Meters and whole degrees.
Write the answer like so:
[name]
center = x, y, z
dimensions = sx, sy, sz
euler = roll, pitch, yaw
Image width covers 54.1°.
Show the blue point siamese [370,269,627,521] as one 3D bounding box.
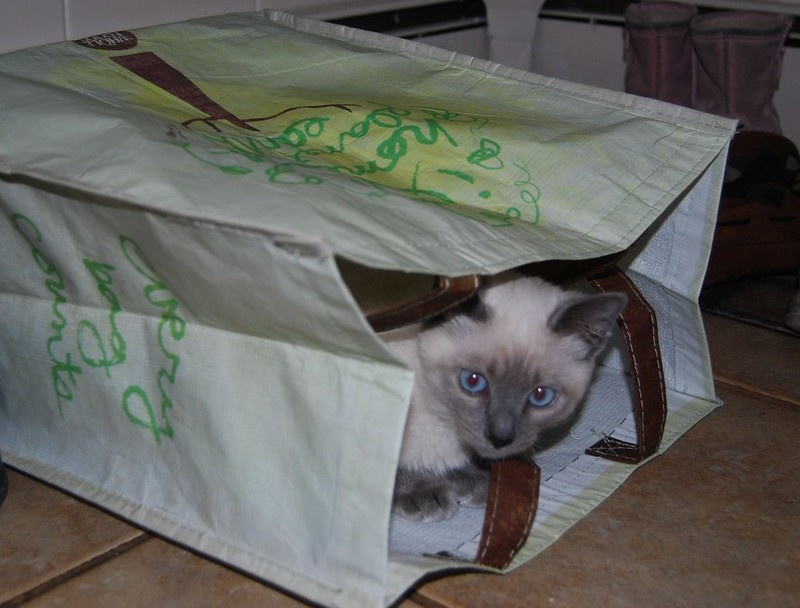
[blue point siamese]
center = 0.198, 0.130, 1.409
dimensions = 0.375, 0.352, 0.414
euler = 11, 6, 6
